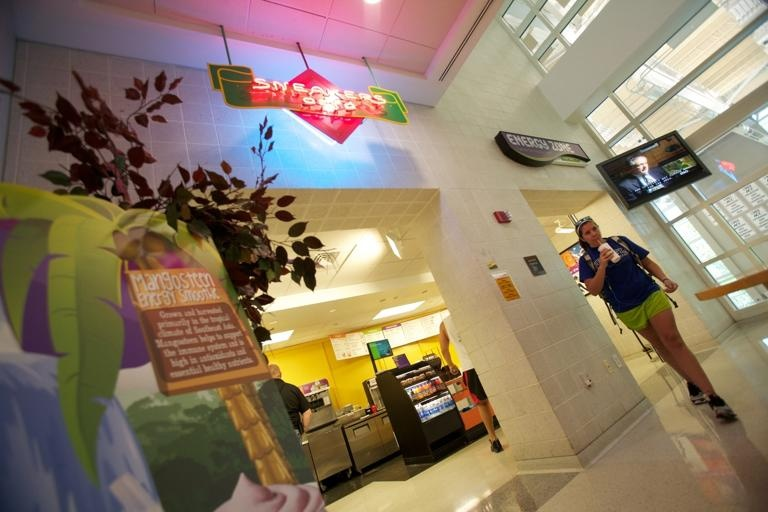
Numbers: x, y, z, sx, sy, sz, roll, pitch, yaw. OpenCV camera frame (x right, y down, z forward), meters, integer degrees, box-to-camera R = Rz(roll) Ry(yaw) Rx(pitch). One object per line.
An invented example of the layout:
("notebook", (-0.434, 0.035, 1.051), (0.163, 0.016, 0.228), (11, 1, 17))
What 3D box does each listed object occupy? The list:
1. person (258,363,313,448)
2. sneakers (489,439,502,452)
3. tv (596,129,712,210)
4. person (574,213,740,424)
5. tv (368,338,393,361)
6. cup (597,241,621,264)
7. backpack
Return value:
("person", (-1.028, 1.575, 4.448), (0.270, 0.881, 1.101), (-17, -14, -18))
("sneakers", (1.370, 2.318, 4.836), (0.088, 0.086, 0.224), (-10, -20, -3))
("tv", (4.459, -1.364, 6.417), (1.379, 0.939, 0.135), (-26, -18, 14))
("person", (2.385, 0.466, 3.677), (0.665, 1.829, 0.818), (-29, -16, 23))
("tv", (-0.122, 2.554, 10.775), (0.846, 0.547, 0.108), (0, -23, -44))
("cup", (2.117, -0.029, 3.714), (0.131, 0.196, 0.123), (-38, -23, -19))
("backpack", (2.211, 0.115, 3.831), (0.537, 0.528, 0.327), (-13, -30, -5))
